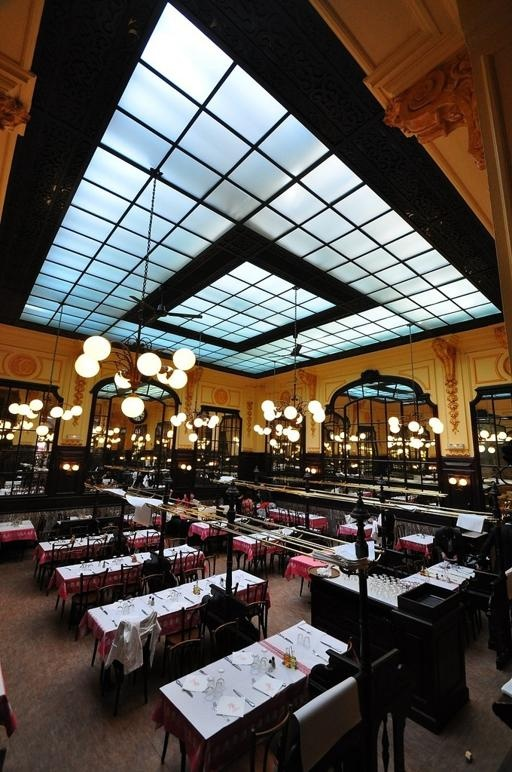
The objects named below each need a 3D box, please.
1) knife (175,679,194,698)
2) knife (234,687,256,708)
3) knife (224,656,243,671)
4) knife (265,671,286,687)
[{"bbox_3d":[-0.574,2.479,3.690,0.078,0.018,0.234,1,-2,-33],"label":"knife"},{"bbox_3d":[-0.083,2.454,3.542,0.054,0.031,0.369,1,-8,-18],"label":"knife"},{"bbox_3d":[-0.162,2.500,4.072,0.157,0.014,0.229,1,-2,-35],"label":"knife"},{"bbox_3d":[0.172,2.473,3.751,0.129,0.019,0.201,0,-2,-20],"label":"knife"}]
